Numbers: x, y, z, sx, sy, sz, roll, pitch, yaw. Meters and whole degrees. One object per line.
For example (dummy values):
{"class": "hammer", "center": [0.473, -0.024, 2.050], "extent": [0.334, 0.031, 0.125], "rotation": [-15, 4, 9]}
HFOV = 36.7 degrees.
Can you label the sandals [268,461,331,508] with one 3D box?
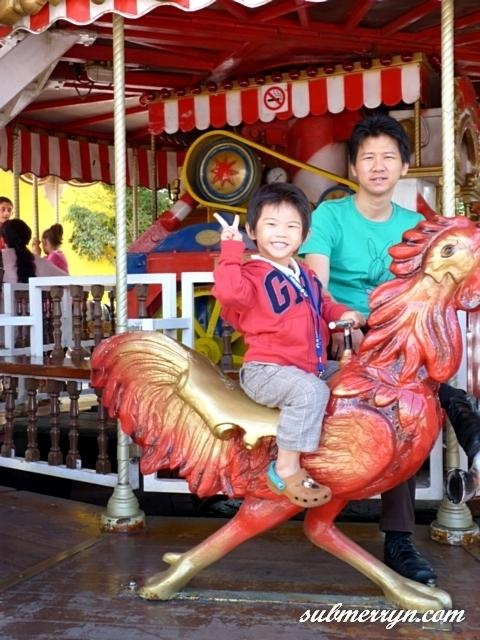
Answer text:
{"class": "sandals", "center": [0.142, 0.408, 1.826], "extent": [0.152, 0.051, 0.089], "rotation": [14, 24, 37]}
